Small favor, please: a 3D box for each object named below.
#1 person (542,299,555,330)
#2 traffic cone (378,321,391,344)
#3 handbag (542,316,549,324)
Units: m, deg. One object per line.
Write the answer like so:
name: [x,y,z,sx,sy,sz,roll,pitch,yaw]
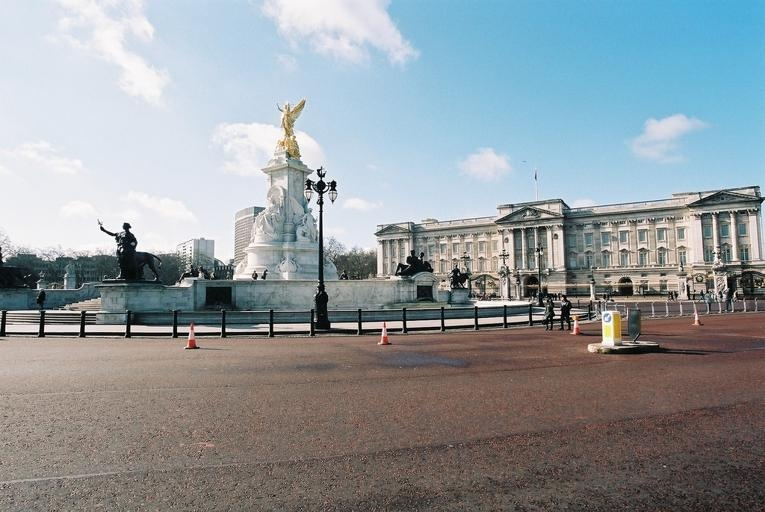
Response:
person: [7.460,2.661,27.942,0.412,1.421,1.775,2,12,14]
traffic cone: [0.051,2.874,22.312,0.649,0.929,0.688,0,-8,0]
handbag: [7.338,2.923,28.101,0.386,0.252,0.386,1,-2,24]
